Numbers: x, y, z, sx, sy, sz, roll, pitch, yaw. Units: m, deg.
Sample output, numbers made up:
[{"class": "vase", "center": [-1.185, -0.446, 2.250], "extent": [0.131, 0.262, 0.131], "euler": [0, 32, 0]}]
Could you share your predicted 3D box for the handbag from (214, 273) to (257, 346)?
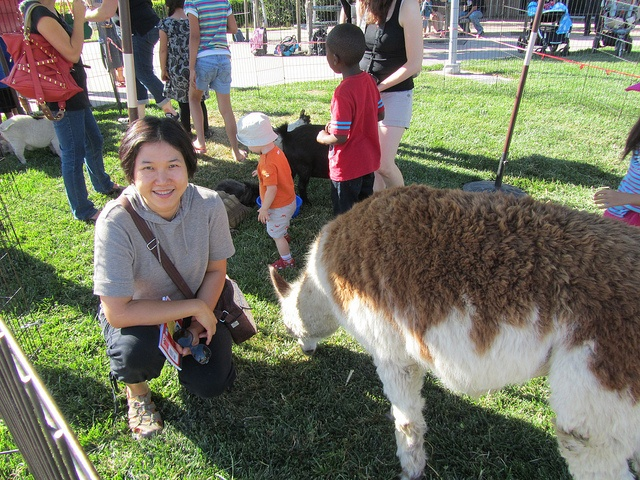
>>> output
[{"class": "handbag", "center": [-0.710, 0.657, 4.080], "extent": [0.346, 0.166, 0.462], "euler": [39, -2, 14]}]

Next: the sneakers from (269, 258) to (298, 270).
[{"class": "sneakers", "center": [-0.387, 0.260, 5.233], "extent": [0.243, 0.128, 0.103], "euler": [-1, 17, -7]}]

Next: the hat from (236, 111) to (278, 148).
[{"class": "hat", "center": [-0.651, -1.182, 5.014], "extent": [0.357, 0.270, 0.487], "euler": [-3, 30, -1]}]

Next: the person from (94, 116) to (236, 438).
[{"class": "person", "center": [-1.203, 0.283, 3.752], "extent": [1.036, 2.320, 1.182], "euler": [15, 25, 23]}]

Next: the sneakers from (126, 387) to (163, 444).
[{"class": "sneakers", "center": [-1.376, 1.391, 3.762], "extent": [0.190, 0.185, 0.421], "euler": [-14, 27, -24]}]

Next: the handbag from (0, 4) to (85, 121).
[{"class": "handbag", "center": [-2.922, -1.863, 5.033], "extent": [0.722, 1.188, 0.320], "euler": [-9, 24, -22]}]
